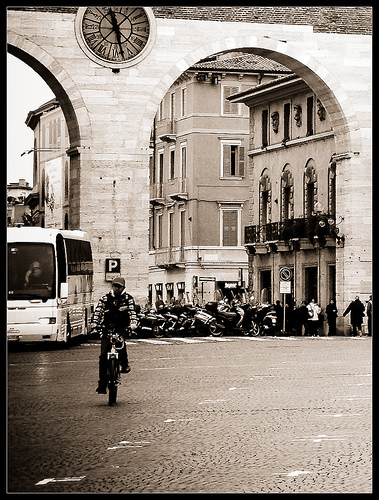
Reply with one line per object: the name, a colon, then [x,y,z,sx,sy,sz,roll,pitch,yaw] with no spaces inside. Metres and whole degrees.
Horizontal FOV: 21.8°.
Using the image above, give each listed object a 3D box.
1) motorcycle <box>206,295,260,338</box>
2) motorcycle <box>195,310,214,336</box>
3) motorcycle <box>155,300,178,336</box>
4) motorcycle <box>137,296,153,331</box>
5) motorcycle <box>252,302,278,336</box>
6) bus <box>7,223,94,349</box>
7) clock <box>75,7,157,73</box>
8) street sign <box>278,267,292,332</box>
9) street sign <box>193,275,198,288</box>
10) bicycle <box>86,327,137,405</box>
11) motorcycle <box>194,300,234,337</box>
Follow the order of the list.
motorcycle: [1.397,2.270,32.703,1.676,1.171,0.888,0,1,-37]
motorcycle: [0.510,2.346,32.069,0.599,0.834,0.925,0,-3,0]
motorcycle: [-0.726,2.171,32.054,0.737,1.100,1.975,0,-3,-2]
motorcycle: [-1.395,1.993,31.273,0.851,1.099,1.653,-1,-5,-3]
motorcycle: [2.637,2.300,33.882,0.593,0.797,1.224,-7,-8,19]
bus: [-4.242,1.100,25.976,1.820,2.998,5.910,-1,-7,2]
clock: [-2.423,-6.689,31.307,1.937,2.114,0.291,0,14,-7]
street sign: [3.256,1.719,33.605,0.478,2.263,0.093,1,-2,35]
street sign: [0.399,1.816,57.319,0.266,0.651,0.376,0,-3,-4]
bicycle: [-0.998,1.458,13.003,0.462,0.672,1.092,0,-6,-1]
motorcycle: [0.634,2.215,32.157,0.910,1.147,1.446,-1,-3,28]
